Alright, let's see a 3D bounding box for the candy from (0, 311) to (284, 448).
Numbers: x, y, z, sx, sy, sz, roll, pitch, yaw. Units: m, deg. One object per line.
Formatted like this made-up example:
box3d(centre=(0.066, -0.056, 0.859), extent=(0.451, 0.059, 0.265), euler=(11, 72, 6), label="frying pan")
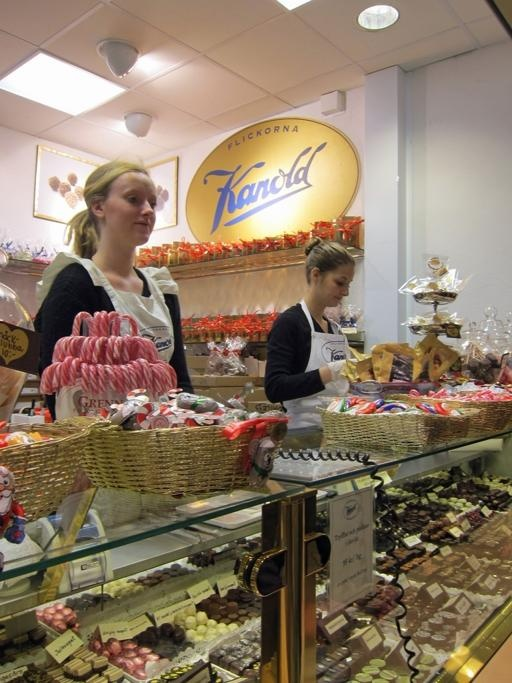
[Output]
box3d(centre=(-0.145, 0.041, 0.703), extent=(0.300, 0.120, 0.195), euler=(2, -7, 10), label="candy")
